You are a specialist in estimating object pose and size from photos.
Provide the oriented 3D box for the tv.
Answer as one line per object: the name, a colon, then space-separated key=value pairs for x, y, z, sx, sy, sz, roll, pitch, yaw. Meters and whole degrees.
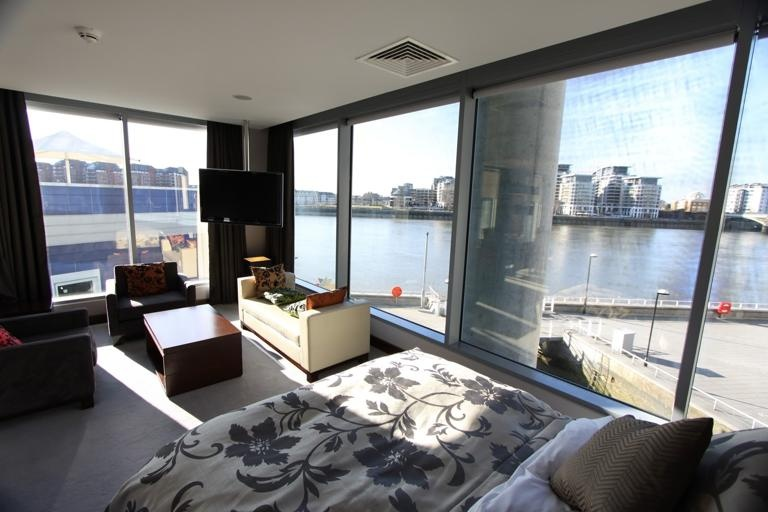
tv: x=-1.873 y=-0.764 z=6.296 sx=1.118 sy=0.711 sz=0.090 roll=3 pitch=12 yaw=3

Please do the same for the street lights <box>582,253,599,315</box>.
street lights: x=1.945 y=0.259 z=4.484 sx=0.094 sy=0.572 sz=0.042 roll=5 pitch=11 yaw=28

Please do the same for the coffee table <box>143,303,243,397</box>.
coffee table: x=-2.321 y=1.056 z=5.447 sx=1.299 sy=0.514 sz=0.871 roll=8 pitch=11 yaw=43

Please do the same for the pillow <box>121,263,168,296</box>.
pillow: x=-3.165 y=0.321 z=6.277 sx=0.399 sy=0.364 sz=0.143 roll=-6 pitch=0 yaw=-27

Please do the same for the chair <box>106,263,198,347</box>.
chair: x=-3.075 y=0.541 z=6.265 sx=1.021 sy=0.829 sz=0.731 roll=-7 pitch=14 yaw=-30
